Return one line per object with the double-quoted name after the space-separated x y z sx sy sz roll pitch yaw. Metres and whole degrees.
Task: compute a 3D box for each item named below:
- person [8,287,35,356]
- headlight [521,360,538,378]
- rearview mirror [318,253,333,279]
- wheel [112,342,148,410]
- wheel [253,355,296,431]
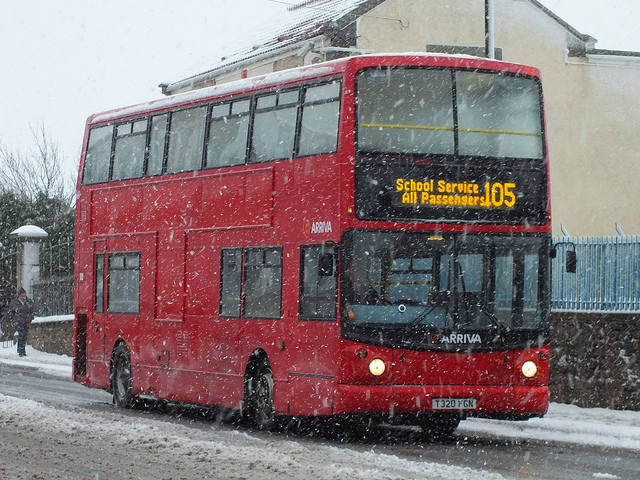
-11.899 3.253 29.800 0.847 2.639 1.276 2 -6 -23 "person"
3.052 1.895 11.010 0.231 0.249 0.057 3 -3 -28 "headlight"
0.064 0.367 10.659 0.253 0.505 0.273 1 0 -6 "rearview mirror"
-4.092 2.773 16.235 0.583 1.654 0.671 -4 -3 39 "wheel"
-0.721 2.405 12.316 0.589 1.349 0.567 -1 -5 0 "wheel"
